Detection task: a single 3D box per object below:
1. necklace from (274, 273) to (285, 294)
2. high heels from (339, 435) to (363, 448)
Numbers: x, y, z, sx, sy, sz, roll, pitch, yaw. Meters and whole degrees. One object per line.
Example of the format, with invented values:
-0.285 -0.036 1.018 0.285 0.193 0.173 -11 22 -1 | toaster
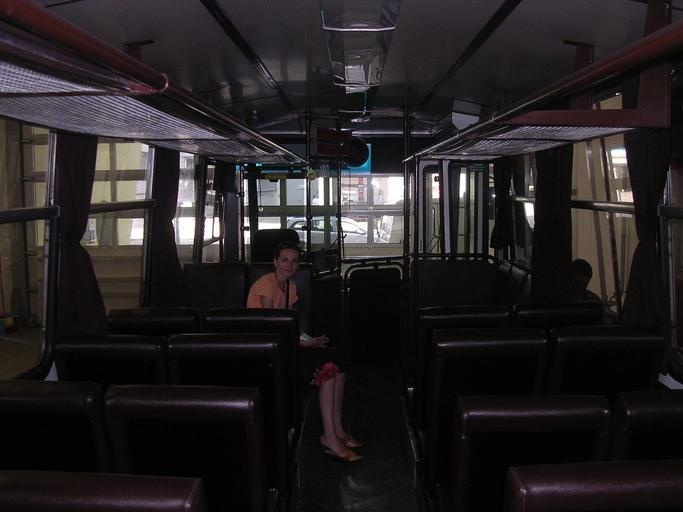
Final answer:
-0.455 0.198 4.009 0.090 0.119 0.125 1 2 3 | necklace
0.065 1.283 3.762 0.152 0.042 0.065 13 8 39 | high heels
